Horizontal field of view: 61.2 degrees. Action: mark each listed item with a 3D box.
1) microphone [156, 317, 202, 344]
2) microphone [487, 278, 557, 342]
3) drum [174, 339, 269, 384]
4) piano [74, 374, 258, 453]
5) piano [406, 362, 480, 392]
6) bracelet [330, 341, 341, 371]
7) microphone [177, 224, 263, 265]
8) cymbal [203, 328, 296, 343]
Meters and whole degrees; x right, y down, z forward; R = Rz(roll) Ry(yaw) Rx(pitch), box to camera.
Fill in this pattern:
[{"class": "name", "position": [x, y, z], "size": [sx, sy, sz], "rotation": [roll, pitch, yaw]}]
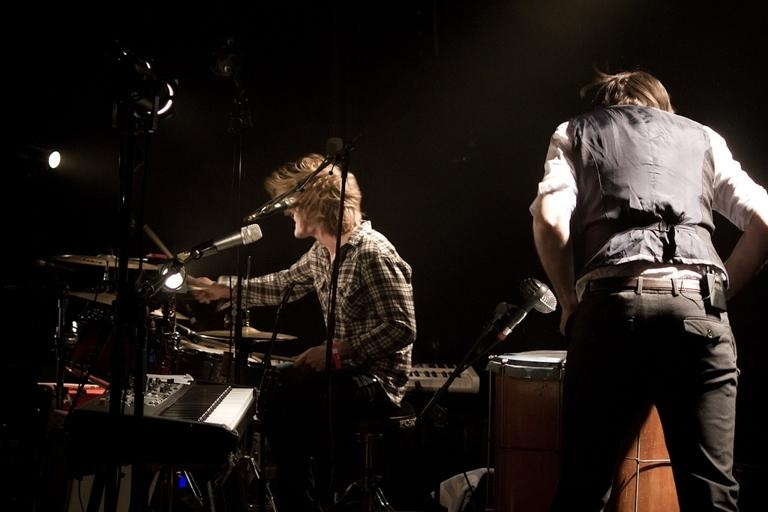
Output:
[{"class": "microphone", "position": [-1.582, 0.555, 5.004], "size": [0.272, 0.094, 0.194], "rotation": [24, -2, -25]}, {"class": "microphone", "position": [0.831, 0.307, 3.998], "size": [0.290, 0.460, 0.189], "rotation": [54, -9, -5]}, {"class": "drum", "position": [-1.303, 0.802, 4.926], "size": [0.413, 0.189, 0.536], "rotation": [10, -5, 17]}, {"class": "piano", "position": [-1.156, 0.849, 3.679], "size": [0.725, 0.274, 0.971], "rotation": [0, 2, -4]}, {"class": "piano", "position": [0.437, 0.890, 4.770], "size": [0.498, 0.266, 0.450], "rotation": [3, -21, 4]}, {"class": "bracelet", "position": [-0.296, 0.620, 4.093], "size": [0.062, 0.171, 0.055], "rotation": [5, -21, 1]}, {"class": "microphone", "position": [-1.298, -0.092, 5.133], "size": [0.677, 0.154, 0.156], "rotation": [-17, -41, -30]}, {"class": "cymbal", "position": [-1.046, 0.615, 5.052], "size": [0.302, 0.068, 0.309], "rotation": [3, -3, 25]}]
